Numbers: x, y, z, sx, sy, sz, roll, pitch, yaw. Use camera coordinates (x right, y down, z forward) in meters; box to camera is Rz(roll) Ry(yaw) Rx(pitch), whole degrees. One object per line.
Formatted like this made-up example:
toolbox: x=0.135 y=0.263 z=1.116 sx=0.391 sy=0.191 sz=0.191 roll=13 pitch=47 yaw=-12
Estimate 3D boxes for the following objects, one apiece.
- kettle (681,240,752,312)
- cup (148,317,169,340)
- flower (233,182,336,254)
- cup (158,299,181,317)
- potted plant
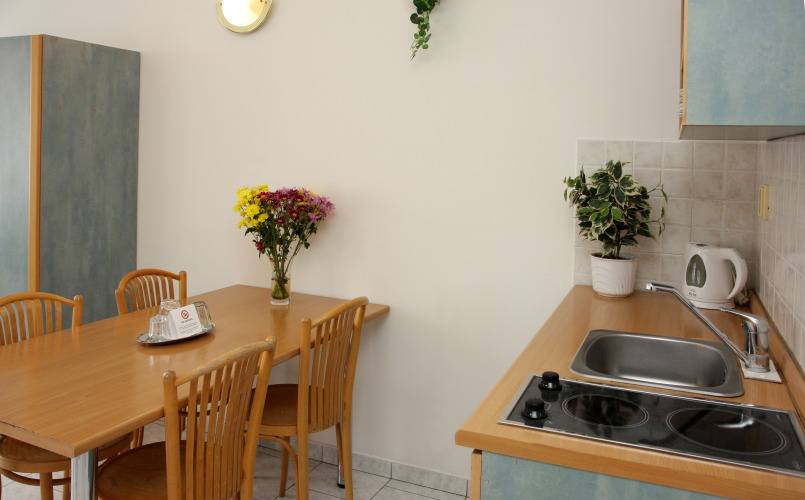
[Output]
kettle: x=1.472 y=0.103 z=2.734 sx=0.292 sy=0.363 sz=0.359 roll=-6 pitch=9 yaw=-44
cup: x=-1.170 y=0.375 z=2.818 sx=0.104 sy=0.113 sz=0.104 roll=2 pitch=7 yaw=0
flower: x=-0.700 y=-0.200 z=3.341 sx=0.455 sy=0.342 sz=0.473 roll=1 pitch=5 yaw=0
cup: x=-1.155 y=0.290 z=2.839 sx=0.090 sy=0.066 sz=0.089 roll=4 pitch=-3 yaw=0
potted plant: x=1.082 y=-0.115 z=2.932 sx=0.498 sy=0.689 sz=0.333 roll=2 pitch=10 yaw=24
